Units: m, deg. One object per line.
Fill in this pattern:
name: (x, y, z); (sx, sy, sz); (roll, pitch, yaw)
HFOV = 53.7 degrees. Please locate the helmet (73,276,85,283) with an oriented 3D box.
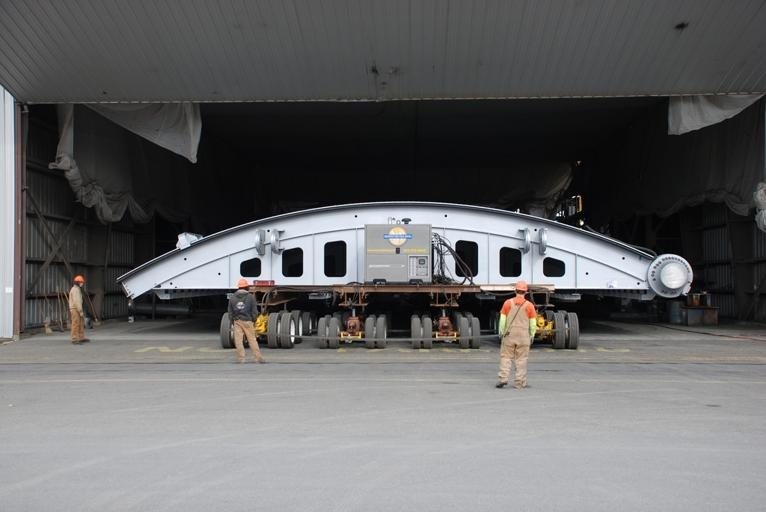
helmet: (-11.724, 0.887, 29.057); (0.373, 0.288, 0.554); (2, 3, 7)

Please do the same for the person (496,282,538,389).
person: (3.559, 2.089, 20.050); (0.920, 2.655, 1.177); (2, 9, 9)

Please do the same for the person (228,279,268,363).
person: (-4.213, 1.885, 23.302); (1.017, 2.589, 0.756); (1, 20, -6)

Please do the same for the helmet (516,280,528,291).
helmet: (3.790, 0.832, 20.539); (0.372, 0.296, 0.537); (0, -2, 7)

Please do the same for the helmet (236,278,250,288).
helmet: (-4.376, 0.869, 23.491); (0.428, 0.312, 0.584); (-1, -4, 0)

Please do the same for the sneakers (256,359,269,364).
sneakers: (-3.668, 3.199, 22.917); (0.340, 0.157, 0.127); (-9, -8, 42)

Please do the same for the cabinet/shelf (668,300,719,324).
cabinet/shelf: (13.916, 2.616, 33.640); (1.218, 0.826, 1.277); (1, -3, 0)
